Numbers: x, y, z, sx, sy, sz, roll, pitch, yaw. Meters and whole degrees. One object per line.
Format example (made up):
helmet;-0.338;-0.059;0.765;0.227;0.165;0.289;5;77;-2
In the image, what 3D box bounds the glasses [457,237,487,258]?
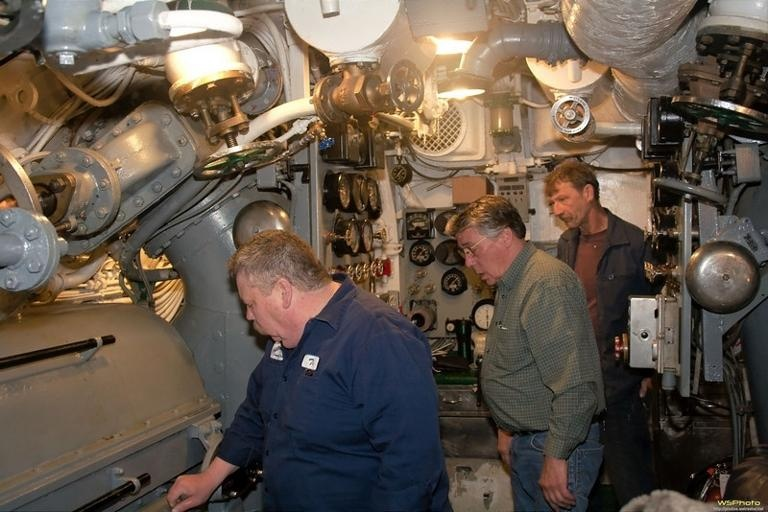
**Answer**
glasses;0.568;-0.051;4.008;0.120;0.039;0.117;-29;3;-17
